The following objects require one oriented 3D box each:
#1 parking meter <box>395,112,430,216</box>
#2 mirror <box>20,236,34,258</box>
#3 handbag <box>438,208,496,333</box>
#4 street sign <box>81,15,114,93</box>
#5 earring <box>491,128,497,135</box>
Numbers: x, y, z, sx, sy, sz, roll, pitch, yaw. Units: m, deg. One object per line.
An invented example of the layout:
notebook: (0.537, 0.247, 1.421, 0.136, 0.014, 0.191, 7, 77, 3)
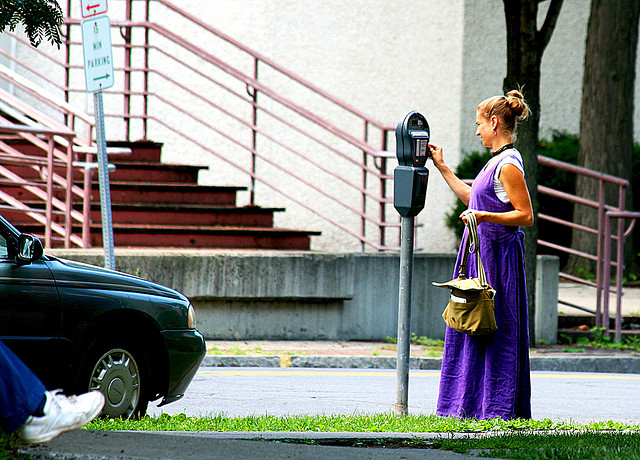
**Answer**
parking meter: (1.088, -0.828, 22.892, 0.393, 1.224, 0.361, 1, -9, 3)
mirror: (-3.440, 0.179, 22.198, 0.170, 0.234, 0.061, 6, 0, -21)
handbag: (1.745, 0.461, 22.960, 0.630, 1.517, 0.450, -5, -11, 34)
street sign: (-2.920, -2.372, 24.819, 0.424, 0.988, 0.365, 2, -9, -4)
earring: (2.100, -1.238, 23.047, 0.070, 0.062, 0.013, -1, -9, 17)
